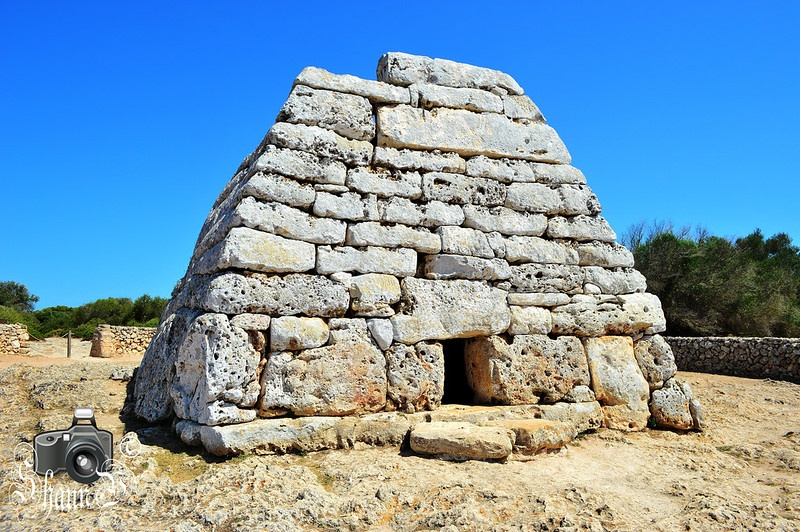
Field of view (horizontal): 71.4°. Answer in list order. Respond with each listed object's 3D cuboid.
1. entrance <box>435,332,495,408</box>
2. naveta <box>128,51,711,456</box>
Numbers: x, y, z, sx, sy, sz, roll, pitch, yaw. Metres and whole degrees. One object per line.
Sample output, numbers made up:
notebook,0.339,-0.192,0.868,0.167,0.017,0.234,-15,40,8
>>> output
entrance,0.838,1.350,7.077,0.861,0.857,0.209,1,-8,-12
naveta,-0.172,0.241,9.355,5.638,3.560,5.608,2,-8,-15
